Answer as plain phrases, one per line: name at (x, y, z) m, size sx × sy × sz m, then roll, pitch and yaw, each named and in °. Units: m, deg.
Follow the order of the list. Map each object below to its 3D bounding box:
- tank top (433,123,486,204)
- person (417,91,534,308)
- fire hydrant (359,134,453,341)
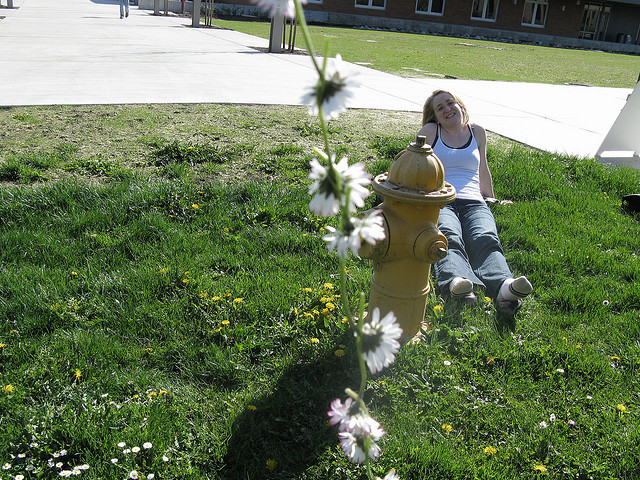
tank top at (1.277, -0.755, 5.387) m, size 0.458 × 0.700 × 0.348 m, roll 0°, pitch -4°, yaw 11°
person at (1.290, -0.250, 5.018) m, size 0.807 × 0.952 × 2.066 m, roll -8°, pitch 45°, yaw 2°
fire hydrant at (0.605, 0.021, 4.069) m, size 0.559 × 1.453 × 0.628 m, roll 9°, pitch 20°, yaw 8°
